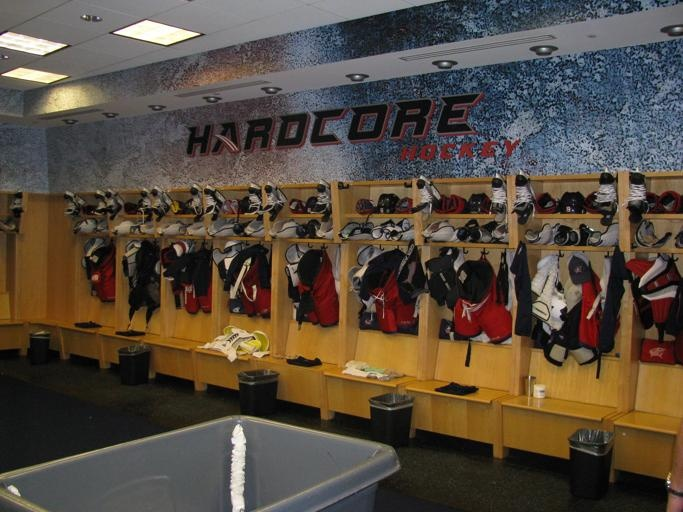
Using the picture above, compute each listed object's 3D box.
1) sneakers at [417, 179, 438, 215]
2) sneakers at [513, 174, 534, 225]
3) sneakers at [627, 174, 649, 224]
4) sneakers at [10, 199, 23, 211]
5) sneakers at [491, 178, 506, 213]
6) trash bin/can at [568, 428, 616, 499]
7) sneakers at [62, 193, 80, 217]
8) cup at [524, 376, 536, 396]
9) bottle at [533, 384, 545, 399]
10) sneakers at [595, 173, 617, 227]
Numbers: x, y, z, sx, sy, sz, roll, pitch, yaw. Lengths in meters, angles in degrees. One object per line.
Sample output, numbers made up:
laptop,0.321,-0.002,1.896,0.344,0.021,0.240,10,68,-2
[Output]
sneakers,0.901,-0.622,5.411,0.144,0.376,0.272,8,40,41
sneakers,1.726,-0.527,4.844,0.193,0.467,0.247,3,5,23
sneakers,2.554,-0.497,4.431,0.187,0.412,0.191,3,5,27
sneakers,-5.820,-0.923,9.199,0.191,0.079,0.236,18,32,21
sneakers,1.538,-0.591,5.011,0.143,0.341,0.168,2,10,23
trash bin/can,2.075,1.734,4.270,0.320,0.493,0.402,2,-6,27
sneakers,-4.674,-0.864,8.899,0.299,0.185,0.630,-1,-7,-18
cup,1.872,1.294,5.075,0.087,0.194,0.096,5,-5,0
bottle,1.921,1.319,4.973,0.140,0.109,0.130,-1,-7,0
sneakers,2.359,-0.511,4.541,0.222,0.426,0.219,4,4,39
